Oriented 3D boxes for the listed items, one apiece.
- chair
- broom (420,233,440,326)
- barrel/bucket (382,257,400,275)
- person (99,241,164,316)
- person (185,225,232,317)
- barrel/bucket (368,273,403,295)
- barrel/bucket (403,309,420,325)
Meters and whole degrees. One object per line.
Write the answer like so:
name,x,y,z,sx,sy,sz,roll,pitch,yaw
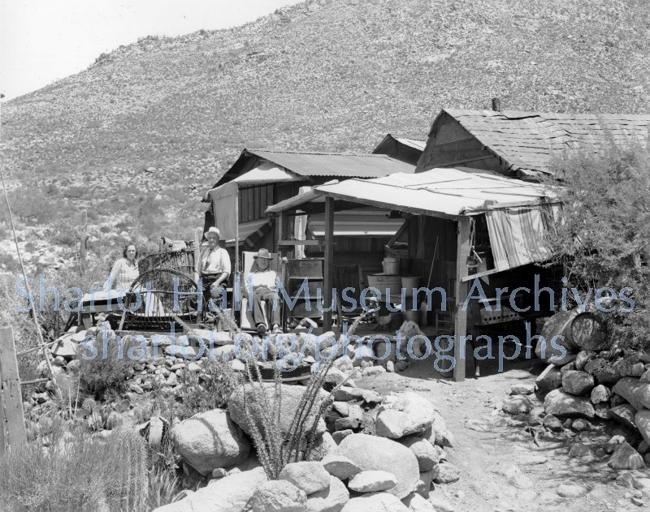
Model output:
chair,-1.100,0.593,13.220,0.798,1.415,0.787,0,1,8
broom,2.092,0.541,14.850,0.382,2.072,0.362,0,3,31
barrel/bucket,1.346,0.167,14.986,0.267,0.335,0.296,1,-7,-5
person,-3.254,0.359,12.783,0.736,1.299,1.444,4,-9,-33
person,-1.964,0.252,12.967,0.646,1.707,1.900,0,-7,-7
barrel/bucket,1.150,0.541,14.411,0.624,0.455,0.448,-1,-7,3
barrel/bucket,1.665,1.140,14.251,0.222,0.205,0.241,-1,-3,0
